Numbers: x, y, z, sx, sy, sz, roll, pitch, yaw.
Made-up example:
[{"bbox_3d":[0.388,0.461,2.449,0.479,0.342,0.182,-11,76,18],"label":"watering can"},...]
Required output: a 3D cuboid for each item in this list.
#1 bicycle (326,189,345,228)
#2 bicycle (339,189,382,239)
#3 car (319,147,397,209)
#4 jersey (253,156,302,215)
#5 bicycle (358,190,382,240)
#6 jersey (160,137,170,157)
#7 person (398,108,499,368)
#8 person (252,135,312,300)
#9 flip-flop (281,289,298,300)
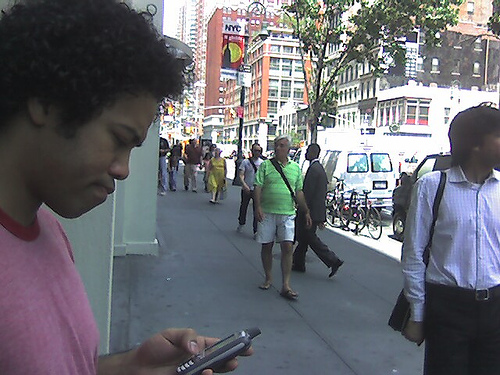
[{"bbox_3d":[2.558,0.621,13.948,0.484,1.060,1.275,2,3,8],"label":"bicycle"},{"bbox_3d":[3.072,0.740,12.859,0.673,0.924,1.452,1,10,-13],"label":"bicycle"},{"bbox_3d":[3.558,-0.133,17.231,2.548,2.515,4.544,-2,-1,-17],"label":"car"},{"bbox_3d":[0.455,-0.034,7.235,0.758,0.976,0.477,5,-8,-2],"label":"jersey"},{"bbox_3d":[3.290,0.796,12.543,0.827,1.111,0.729,4,4,39],"label":"bicycle"},{"bbox_3d":[-3.145,-1.503,17.085,0.146,0.711,0.466,2,7,-17],"label":"jersey"},{"bbox_3d":[1.215,0.301,2.818,0.557,1.589,0.412,2,3,19],"label":"person"},{"bbox_3d":[0.477,0.405,7.156,0.798,2.480,0.825,1,-7,16],"label":"person"},{"bbox_3d":[0.557,1.521,6.579,0.239,0.128,0.148,2,3,5],"label":"flip-flop"}]
